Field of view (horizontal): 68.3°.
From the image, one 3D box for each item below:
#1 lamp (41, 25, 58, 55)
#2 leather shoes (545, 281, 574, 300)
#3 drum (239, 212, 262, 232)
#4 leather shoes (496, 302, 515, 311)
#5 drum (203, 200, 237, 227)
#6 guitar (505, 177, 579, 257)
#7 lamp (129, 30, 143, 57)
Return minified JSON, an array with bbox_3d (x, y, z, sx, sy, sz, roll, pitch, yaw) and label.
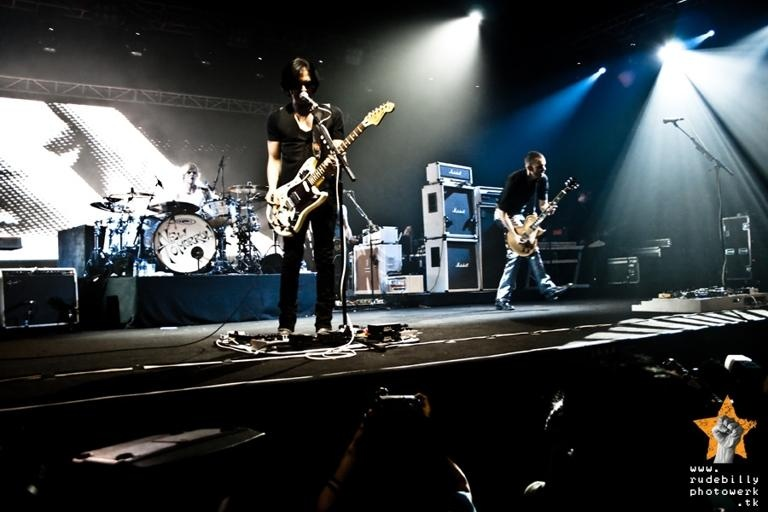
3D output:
[{"bbox_3d":[-6.231,-4.041,10.562,0.237,0.413,0.229,6,2,27],"label":"lamp"},{"bbox_3d":[2.885,0.586,9.326,0.189,0.258,0.568,-9,-18,-30],"label":"leather shoes"},{"bbox_3d":[-2.252,-0.552,9.459,0.470,0.301,0.533,3,3,36],"label":"drum"},{"bbox_3d":[1.713,0.721,7.988,0.298,0.204,0.098,-2,-7,7],"label":"leather shoes"},{"bbox_3d":[-2.642,-0.690,9.090,0.434,0.210,0.446,-15,-15,-4],"label":"drum"},{"bbox_3d":[2.460,-0.562,8.445,0.727,1.079,1.593,1,5,39],"label":"guitar"},{"bbox_3d":[-4.807,-4.133,11.002,0.223,0.403,0.227,0,2,35],"label":"lamp"}]
